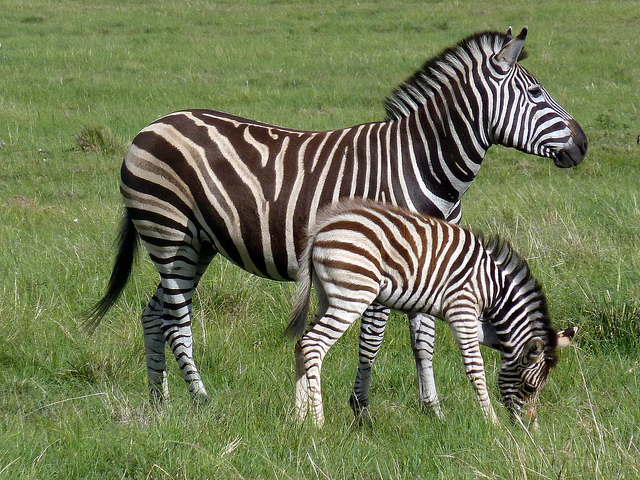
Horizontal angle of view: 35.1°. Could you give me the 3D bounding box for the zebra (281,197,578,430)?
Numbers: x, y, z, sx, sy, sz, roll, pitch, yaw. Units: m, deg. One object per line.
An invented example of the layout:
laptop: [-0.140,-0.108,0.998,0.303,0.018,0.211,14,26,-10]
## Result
zebra: [1.165,0.867,10.913,2.862,2.770,0.991,7,19,0]
